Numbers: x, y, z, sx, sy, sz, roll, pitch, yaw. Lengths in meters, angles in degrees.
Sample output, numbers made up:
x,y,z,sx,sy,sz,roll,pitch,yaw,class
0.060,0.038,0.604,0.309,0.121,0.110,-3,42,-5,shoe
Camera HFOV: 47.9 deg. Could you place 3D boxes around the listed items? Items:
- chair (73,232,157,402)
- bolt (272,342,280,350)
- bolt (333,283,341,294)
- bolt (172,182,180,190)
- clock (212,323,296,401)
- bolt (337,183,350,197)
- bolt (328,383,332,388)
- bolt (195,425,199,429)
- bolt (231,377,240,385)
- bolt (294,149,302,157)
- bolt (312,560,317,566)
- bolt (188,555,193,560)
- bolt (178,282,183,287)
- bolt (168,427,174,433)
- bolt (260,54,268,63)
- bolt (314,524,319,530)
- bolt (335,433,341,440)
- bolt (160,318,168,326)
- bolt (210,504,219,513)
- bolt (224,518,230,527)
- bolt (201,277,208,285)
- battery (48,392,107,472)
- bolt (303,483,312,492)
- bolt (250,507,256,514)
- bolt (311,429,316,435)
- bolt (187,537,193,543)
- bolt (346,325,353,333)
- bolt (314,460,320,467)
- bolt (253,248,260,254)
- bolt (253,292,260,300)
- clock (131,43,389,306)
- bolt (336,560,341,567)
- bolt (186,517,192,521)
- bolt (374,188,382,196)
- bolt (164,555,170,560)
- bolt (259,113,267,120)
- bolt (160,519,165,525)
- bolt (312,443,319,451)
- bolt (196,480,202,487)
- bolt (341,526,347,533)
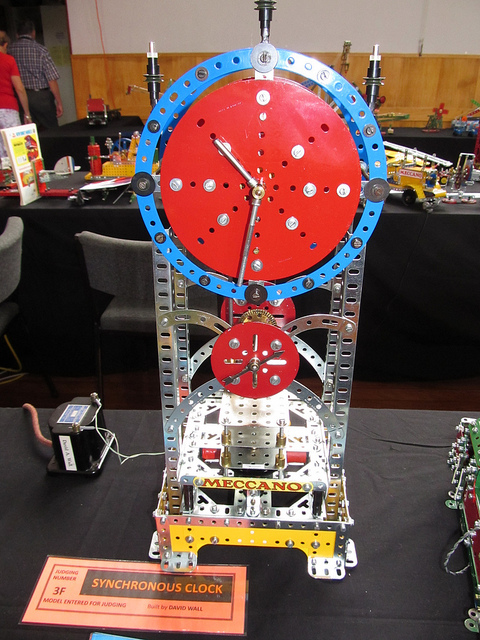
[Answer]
x,y,z,sx,sy,sz,roll,pitch,yaw,class
-0.512,-0.051,2.309,0.284,0.804,0.454,-8,34,-10,chair
0.067,0.049,1.005,0.014,0.013,0.003,1,7,0,bolt
0.206,-0.068,1.153,0.020,0.018,0.008,5,4,8,bolt
-0.102,-0.214,0.853,0.010,0.009,0.002,0,10,-8,bolt
0.026,0.077,1.028,0.185,0.172,0.029,1,21,1,clock
0.161,-0.206,0.849,0.018,0.017,0.004,-10,11,2,bolt
0.215,0.159,1.306,0.010,0.009,0.010,8,25,19,bolt
-0.107,0.264,1.316,0.008,0.011,0.008,-1,10,-26,bolt
-0.010,0.118,1.032,0.013,0.012,0.014,3,-8,1,bolt
0.088,-0.256,0.823,0.009,0.008,0.002,-6,25,17,bolt
0.160,0.532,1.175,0.007,0.007,0.012,4,27,0,bolt
-0.110,0.520,1.175,0.010,0.002,0.011,0,32,0,bolt
-0.126,-0.075,1.138,0.011,0.010,0.003,1,5,5,bolt
-0.147,0.235,1.144,0.013,0.014,0.002,-4,34,-5,bolt
0.034,-0.383,0.787,0.011,0.011,0.003,-7,34,-10,bolt
0.157,0.433,1.119,0.010,0.012,0.009,0,1,-3,bolt
0.204,0.246,1.130,0.009,0.012,0.011,-1,-1,15,bolt
-0.149,0.004,1.055,0.013,0.016,0.004,-3,34,-4,bolt
-0.057,0.415,1.177,0.020,0.009,0.022,-3,33,-5,bolt
-0.029,0.427,1.132,0.011,0.023,0.003,5,34,8,bolt
-0.062,-0.067,0.923,0.012,0.011,0.003,18,1,6,bolt
-0.433,0.305,1.458,0.149,0.150,0.212,-1,18,0,battery
0.143,0.359,1.147,0.017,0.016,0.004,-4,14,3,bolt
0.026,0.405,1.139,0.013,0.003,0.014,-3,32,-5,bolt
0.176,0.274,1.313,0.008,0.010,0.002,0,-18,2,bolt
-0.108,0.476,1.159,0.011,0.015,0.003,-5,34,-6,bolt
0.212,0.018,1.048,0.010,0.013,0.013,7,60,-11,bolt
0.171,0.325,1.211,0.011,0.002,0.021,4,32,6,bolt
0.026,-0.116,0.897,0.010,0.010,0.002,-2,0,1,bolt
0.027,-0.041,0.915,0.009,0.011,0.003,2,3,3,bolt
0.031,-0.218,0.870,0.421,0.387,0.072,5,20,10,clock
0.213,0.532,1.169,0.009,0.011,0.004,-1,-11,8,bolt
-0.109,0.421,1.134,0.010,0.009,0.002,3,4,-2,bolt
0.222,-0.209,0.872,0.012,0.011,0.003,6,6,2,bolt
-0.159,0.515,1.165,0.011,0.005,0.008,-2,33,-3,bolt
0.034,-0.307,0.809,0.009,0.008,0.002,5,11,-2,bolt
-0.165,0.430,1.140,0.010,0.014,0.003,1,34,3,bolt
0.176,0.300,1.265,0.009,0.004,0.012,-1,34,6,bolt
-0.090,0.356,1.163,0.012,0.012,0.003,15,2,4,bolt
0.212,0.435,1.116,0.012,0.017,0.012,-1,34,6,bolt
